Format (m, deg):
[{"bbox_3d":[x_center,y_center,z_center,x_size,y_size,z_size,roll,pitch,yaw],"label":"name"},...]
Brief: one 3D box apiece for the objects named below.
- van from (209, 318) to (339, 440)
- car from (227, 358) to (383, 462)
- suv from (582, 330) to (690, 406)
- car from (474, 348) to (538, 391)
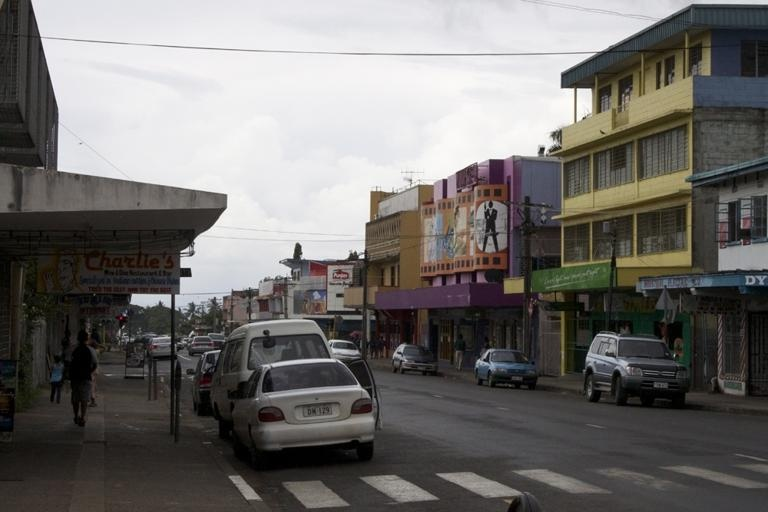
[{"bbox_3d":[-2.981,2.709,23.951,1.960,1.994,3.646,0,-1,-14],"label":"van"},{"bbox_3d":[-2.009,3.325,22.521,2.723,2.113,4.984,-2,1,-16],"label":"car"},{"bbox_3d":[8.853,4.006,34.483,2.053,2.714,3.722,4,-8,-25],"label":"suv"},{"bbox_3d":[5.629,5.184,44.373,2.173,1.795,2.486,1,-7,-7],"label":"car"}]
